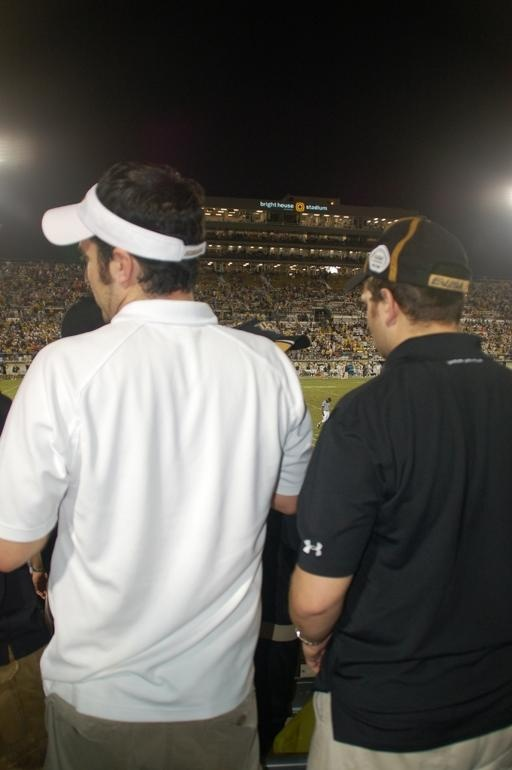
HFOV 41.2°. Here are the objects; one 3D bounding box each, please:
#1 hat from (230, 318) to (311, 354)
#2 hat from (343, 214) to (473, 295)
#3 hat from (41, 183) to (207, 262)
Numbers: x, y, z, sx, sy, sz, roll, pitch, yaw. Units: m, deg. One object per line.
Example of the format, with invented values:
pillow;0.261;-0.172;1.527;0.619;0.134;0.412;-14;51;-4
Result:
hat;0.100;-0.257;3.492;0.337;0.091;0.208;20;-1;-24
hat;0.509;-0.439;2.252;0.308;0.211;0.412;-3;16;-40
hat;-0.375;-0.426;1.810;0.471;0.134;0.302;5;-3;-24
